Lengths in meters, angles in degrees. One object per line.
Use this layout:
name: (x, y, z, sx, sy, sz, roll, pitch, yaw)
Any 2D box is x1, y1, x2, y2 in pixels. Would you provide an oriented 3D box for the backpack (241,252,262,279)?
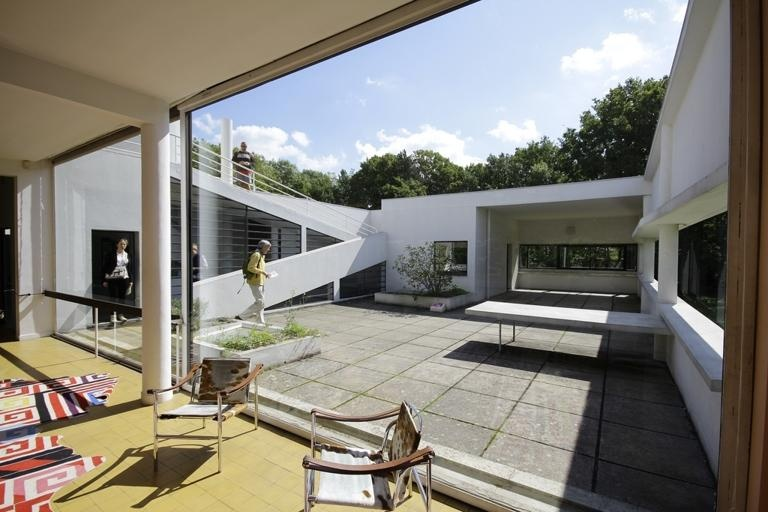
backpack: (-2.285, 0.129, 8.025, 0.351, 0.595, 0.411, 4, -4, -6)

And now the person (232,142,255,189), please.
person: (-2.139, -1.384, 7.251, 0.317, 0.683, 0.821, -6, 14, -14)

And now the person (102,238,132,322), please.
person: (-4.146, 0.179, 7.364, 0.436, 0.803, 1.108, -10, 16, -31)

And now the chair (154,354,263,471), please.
chair: (-1.992, 1.663, 5.438, 0.886, 0.829, 1.231, -1, -3, 2)
